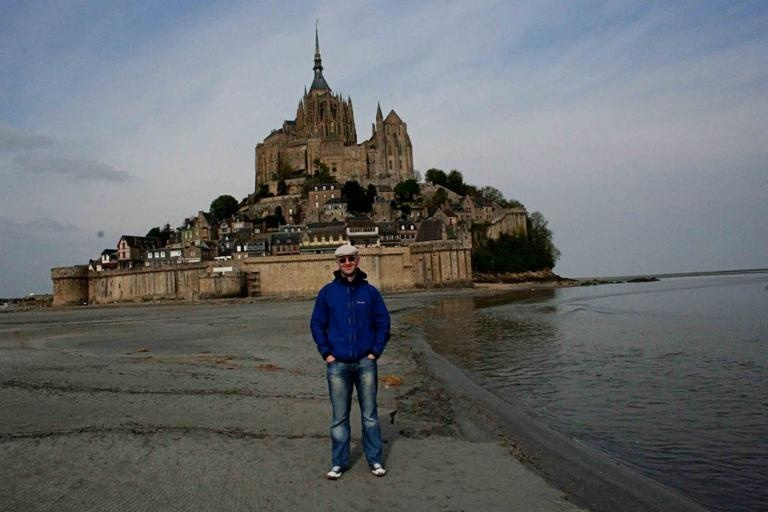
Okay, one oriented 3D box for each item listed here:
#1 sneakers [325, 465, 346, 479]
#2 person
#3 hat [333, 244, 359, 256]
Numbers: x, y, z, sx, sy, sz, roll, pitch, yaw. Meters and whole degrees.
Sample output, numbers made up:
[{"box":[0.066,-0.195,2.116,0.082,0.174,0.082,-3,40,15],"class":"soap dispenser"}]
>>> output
[{"box":[-0.898,3.916,9.951,0.140,0.153,0.384,-4,-17,11],"class":"sneakers"},{"box":[-0.598,1.917,10.104,1.344,4.100,0.747,-4,-1,-8],"class":"person"},{"box":[-0.695,-0.102,9.947,0.389,0.224,0.375,-5,-1,-8],"class":"hat"}]
